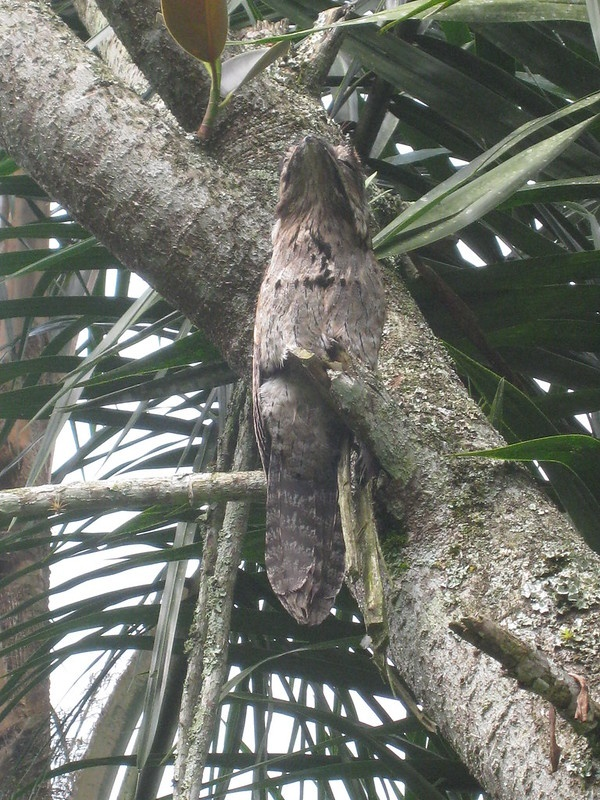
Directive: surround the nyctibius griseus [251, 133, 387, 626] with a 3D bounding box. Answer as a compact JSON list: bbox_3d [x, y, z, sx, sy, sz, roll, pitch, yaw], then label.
[{"bbox_3d":[0.021,-0.062,2.354,0.317,1.079,0.485,5,-9,-13],"label":"nyctibius griseus"}]
